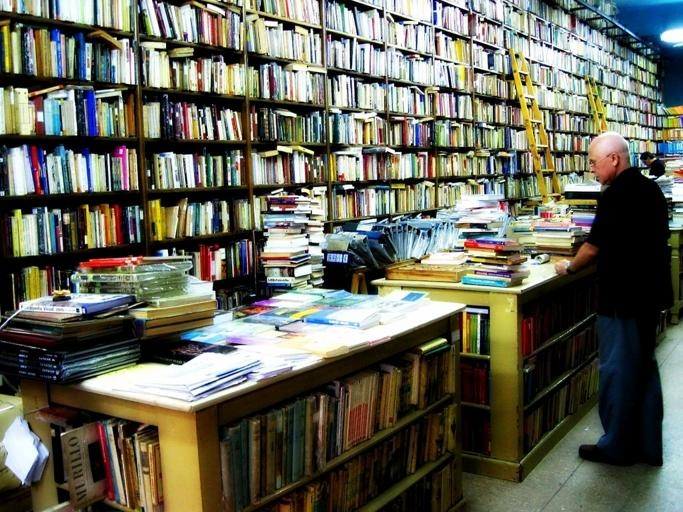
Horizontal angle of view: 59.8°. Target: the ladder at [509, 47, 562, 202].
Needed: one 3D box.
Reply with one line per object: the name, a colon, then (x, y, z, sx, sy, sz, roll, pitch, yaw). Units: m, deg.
ladder: (2.727, -2.002, 9.280, 0.371, 2.161, 1.189, 9, 11, 36)
